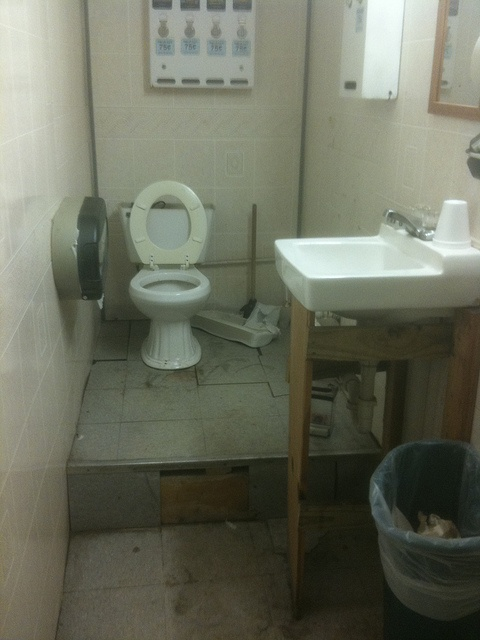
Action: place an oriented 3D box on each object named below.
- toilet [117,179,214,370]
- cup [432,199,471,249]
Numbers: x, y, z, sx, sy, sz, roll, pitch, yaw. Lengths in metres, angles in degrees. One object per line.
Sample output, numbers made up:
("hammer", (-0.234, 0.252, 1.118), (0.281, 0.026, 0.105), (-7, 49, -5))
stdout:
("toilet", (-0.378, -0.243, 2.653), (0.490, 0.932, 0.573), (-10, 15, -42))
("cup", (0.463, -0.224, 1.160), (0.075, 0.108, 0.087), (-12, 24, -27))
